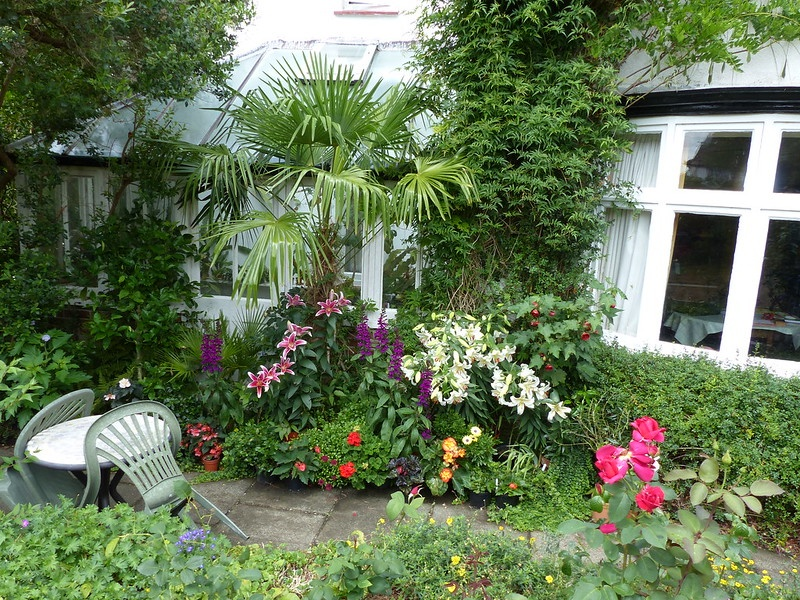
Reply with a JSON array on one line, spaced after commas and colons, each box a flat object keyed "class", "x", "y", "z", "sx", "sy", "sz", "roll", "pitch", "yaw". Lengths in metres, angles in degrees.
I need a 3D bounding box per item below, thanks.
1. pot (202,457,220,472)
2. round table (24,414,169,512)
[{"class": "pot", "x": -1.570, "y": 1.364, "z": 4.967, "sx": 0.106, "sy": 0.086, "sz": 0.110, "roll": 0, "pitch": 1, "yaw": 0}, {"class": "round table", "x": -1.996, "y": 0.883, "z": 3.807, "sx": 0.640, "sy": 0.452, "sz": 0.638, "roll": 3, "pitch": 24, "yaw": -1}]
